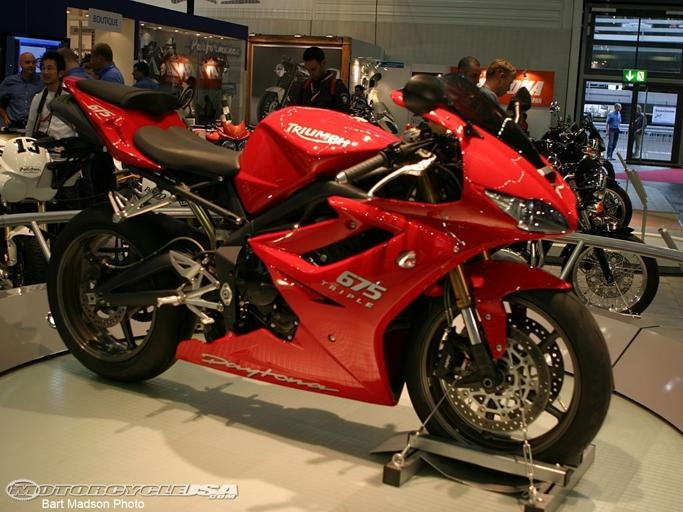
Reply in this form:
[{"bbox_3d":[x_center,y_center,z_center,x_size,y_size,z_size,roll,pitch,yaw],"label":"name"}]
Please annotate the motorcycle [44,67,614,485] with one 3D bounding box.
[{"bbox_3d":[-0.179,0.012,2.257,2.608,1.669,0.508,8,12,27],"label":"motorcycle"}]
